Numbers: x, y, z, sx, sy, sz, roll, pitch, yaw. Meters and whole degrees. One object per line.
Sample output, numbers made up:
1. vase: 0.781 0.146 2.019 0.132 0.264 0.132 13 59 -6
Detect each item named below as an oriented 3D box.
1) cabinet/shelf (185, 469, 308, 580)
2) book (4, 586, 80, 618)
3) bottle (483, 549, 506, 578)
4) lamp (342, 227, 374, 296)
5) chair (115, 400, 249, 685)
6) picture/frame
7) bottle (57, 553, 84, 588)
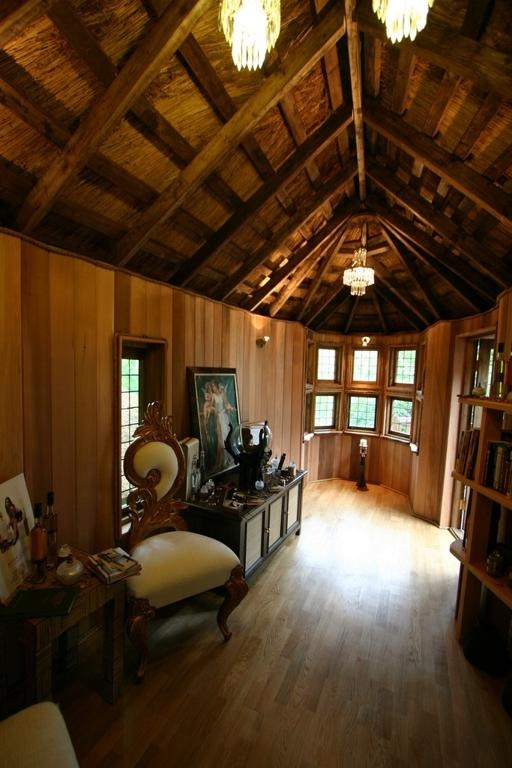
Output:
1. cabinet/shelf: 0.030 1.066 3.752 0.311 0.576 1.074 8 10 26
2. book: -0.878 0.902 1.984 0.131 0.035 0.151 0 2 -5
3. bottle: 1.324 0.979 2.654 0.093 0.128 0.135 6 8 28
4. lamp: 0.892 -1.080 4.085 0.189 0.608 0.206 4 -7 5
5. chair: -0.485 0.871 2.715 0.629 1.255 0.751 12 10 42
6. picture/frame: -0.297 0.292 3.950 0.036 0.854 0.800 -7 0 21
7. bottle: -0.814 0.831 2.174 0.098 0.111 0.107 6 1 13
